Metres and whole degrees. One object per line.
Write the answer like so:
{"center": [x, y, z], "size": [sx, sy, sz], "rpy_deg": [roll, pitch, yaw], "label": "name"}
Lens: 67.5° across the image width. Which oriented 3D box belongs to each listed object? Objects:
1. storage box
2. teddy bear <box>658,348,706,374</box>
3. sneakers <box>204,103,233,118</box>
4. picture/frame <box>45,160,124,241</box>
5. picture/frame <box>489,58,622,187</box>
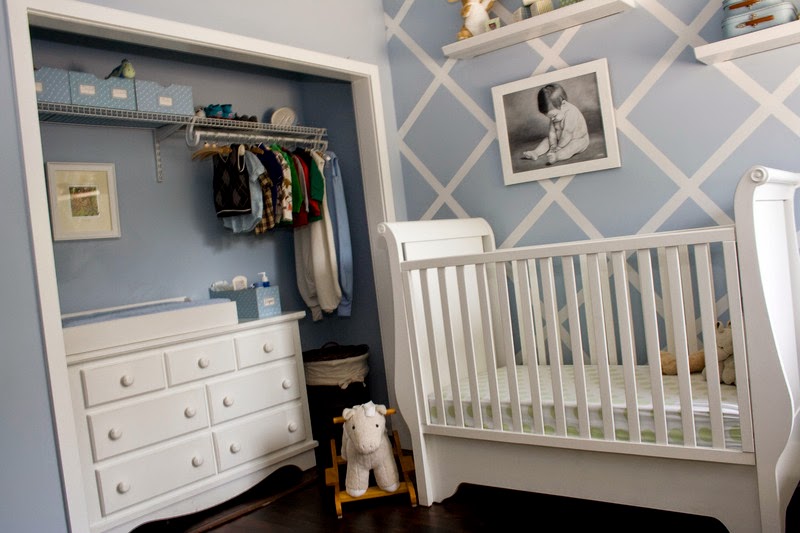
{"center": [-1.583, -0.949, 3.379], "size": [0.808, 0.333, 0.358], "rpy_deg": [-12, 11, -28], "label": "storage box"}
{"center": [1.404, 0.483, 3.002], "size": [0.194, 0.070, 0.194], "rpy_deg": [-13, -5, 4], "label": "teddy bear"}
{"center": [-1.162, -0.976, 3.763], "size": [0.117, 0.055, 0.146], "rpy_deg": [-4, 7, -41], "label": "sneakers"}
{"center": [-1.804, -0.372, 3.381], "size": [0.442, 0.574, 0.055], "rpy_deg": [-9, 7, -33], "label": "picture/frame"}
{"center": [0.931, -0.849, 3.478], "size": [0.753, 0.645, 0.055], "rpy_deg": [-8, 4, 31], "label": "picture/frame"}
